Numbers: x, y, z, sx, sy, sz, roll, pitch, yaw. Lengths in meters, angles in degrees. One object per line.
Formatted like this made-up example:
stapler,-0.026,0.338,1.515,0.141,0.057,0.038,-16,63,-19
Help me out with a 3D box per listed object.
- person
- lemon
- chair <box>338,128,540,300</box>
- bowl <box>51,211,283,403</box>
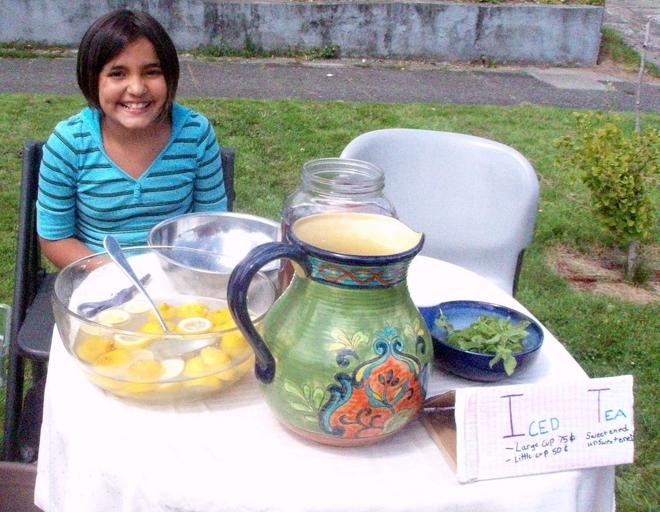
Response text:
person,-0.862,-0.014,2.327,0.668,1.731,0.696,-18,33,-39
lemon,-0.301,0.146,1.235,0.347,0.156,0.265,12,22,32
chair,0.442,-0.273,2.756,0.698,0.816,0.773,4,23,5
bowl,-0.365,0.123,1.342,0.414,0.199,0.462,0,20,-5
